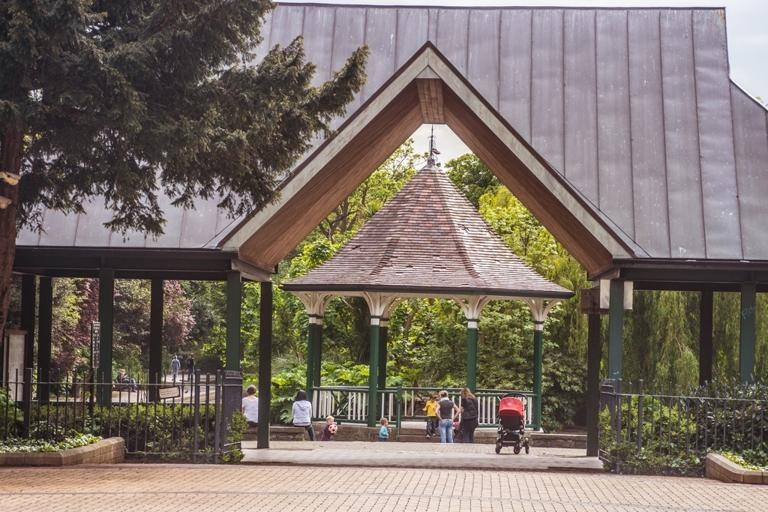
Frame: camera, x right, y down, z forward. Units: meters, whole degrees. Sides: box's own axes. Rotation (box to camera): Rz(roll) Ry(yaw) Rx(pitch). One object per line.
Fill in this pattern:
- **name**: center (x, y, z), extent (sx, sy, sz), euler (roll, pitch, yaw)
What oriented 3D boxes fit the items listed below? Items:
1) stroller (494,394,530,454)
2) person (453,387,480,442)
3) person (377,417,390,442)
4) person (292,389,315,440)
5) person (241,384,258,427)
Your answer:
- **stroller**: center (3.418, 4.346, 26.360), extent (1.042, 1.382, 0.819), euler (3, -8, -45)
- **person**: center (2.363, 4.590, 28.882), extent (0.506, 1.666, 0.879), euler (1, 1, 18)
- **person**: center (-0.004, 5.224, 30.151), extent (0.363, 0.724, 1.061), euler (0, 1, 0)
- **person**: center (-2.282, 4.605, 29.053), extent (0.556, 1.509, 0.964), euler (0, 1, -4)
- **person**: center (-3.509, 4.043, 26.711), extent (0.365, 1.217, 1.687), euler (0, 1, -10)
